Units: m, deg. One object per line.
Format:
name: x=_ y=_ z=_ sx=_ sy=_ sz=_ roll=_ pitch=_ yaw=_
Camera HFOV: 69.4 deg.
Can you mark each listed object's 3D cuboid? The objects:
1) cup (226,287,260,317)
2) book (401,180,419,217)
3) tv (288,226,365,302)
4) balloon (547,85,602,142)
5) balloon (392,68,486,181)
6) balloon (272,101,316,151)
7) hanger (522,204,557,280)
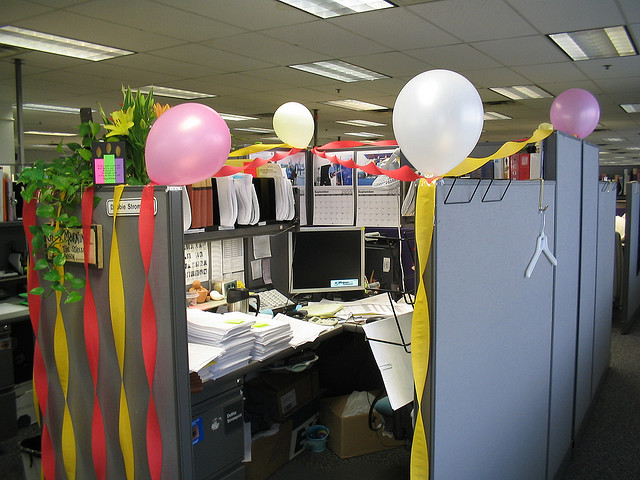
cup: x=-0.473 y=0.388 z=2.980 sx=0.195 sy=0.229 sz=0.135 roll=3 pitch=5 yaw=14
book: x=0.588 y=-0.259 z=3.043 sx=0.091 sy=0.230 sz=0.518 roll=-2 pitch=4 yaw=10
tv: x=0.055 y=0.156 z=3.308 sx=0.469 sy=0.460 sz=0.044 roll=0 pitch=3 yaw=-9
balloon: x=1.762 y=-0.854 z=3.133 sx=0.338 sy=0.328 sz=0.186 roll=-4 pitch=4 yaw=-21
balloon: x=0.416 y=-0.429 z=1.896 sx=0.347 sy=0.503 sz=0.380 roll=-1 pitch=1 yaw=3
balloon: x=-0.199 y=-0.876 z=3.506 sx=0.281 sy=0.365 sz=0.329 roll=-3 pitch=4 yaw=-6
hanger: x=1.158 y=0.010 z=2.432 sx=0.034 sy=0.478 sz=0.332 roll=7 pitch=13 yaw=44
